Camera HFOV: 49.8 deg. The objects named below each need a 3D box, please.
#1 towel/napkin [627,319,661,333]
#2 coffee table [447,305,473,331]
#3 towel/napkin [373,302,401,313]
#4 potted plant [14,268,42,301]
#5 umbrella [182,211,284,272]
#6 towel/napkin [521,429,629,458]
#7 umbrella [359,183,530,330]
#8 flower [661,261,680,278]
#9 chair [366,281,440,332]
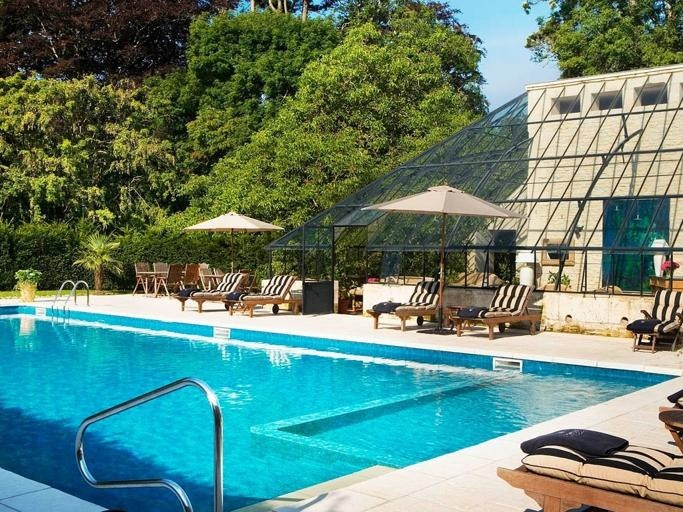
[{"bbox_3d":[5.957,1.398,14.568,0.385,0.114,0.354,-12,9,3],"label":"towel/napkin"},{"bbox_3d":[2.645,1.437,17.164,0.689,0.503,0.569,1,1,-41],"label":"coffee table"},{"bbox_3d":[1.082,1.209,17.344,0.329,0.128,0.341,1,4,43],"label":"towel/napkin"},{"bbox_3d":[-10.196,0.965,23.971,0.685,1.101,1.112,4,-1,-22],"label":"potted plant"},{"bbox_3d":[-3.432,-0.819,23.694,2.389,1.696,2.628,-1,0,25],"label":"umbrella"},{"bbox_3d":[2.392,1.890,7.495,0.492,0.137,0.508,0,-3,26],"label":"towel/napkin"},{"bbox_3d":[2.457,-0.248,18.317,3.579,3.164,3.604,0,7,-2],"label":"umbrella"},{"bbox_3d":[7.628,0.323,17.201,0.366,0.311,0.376,0,3,5],"label":"flower"},{"bbox_3d":[1.630,1.197,17.854,1.760,1.081,0.941,0,-1,-40],"label":"chair"}]
